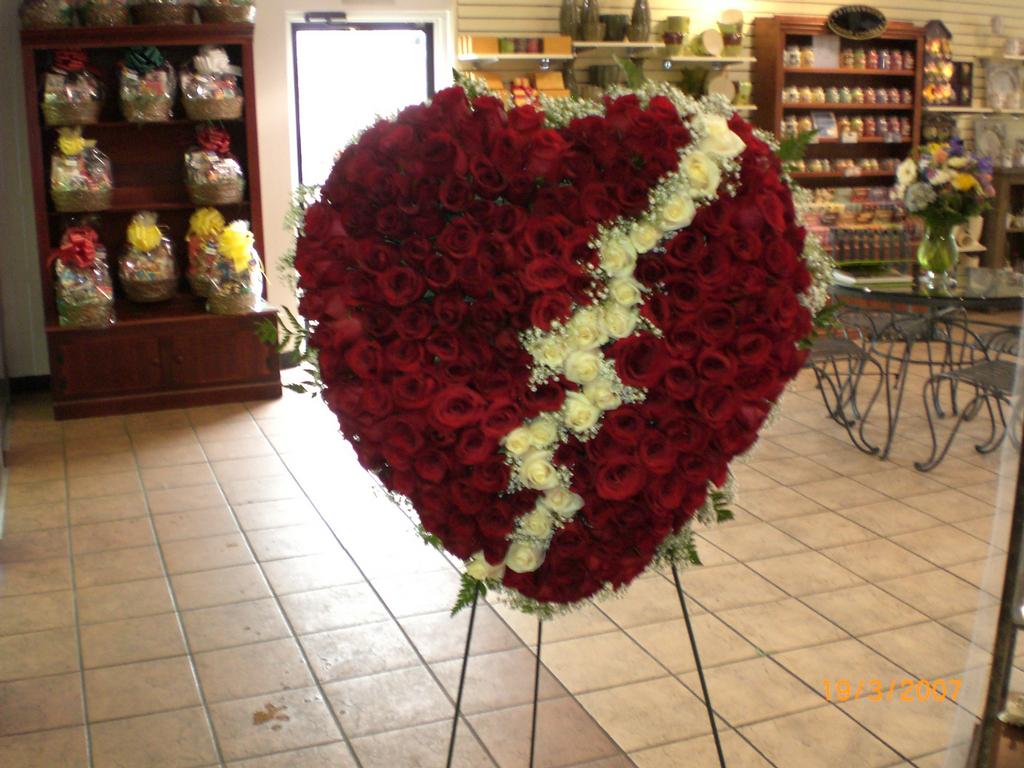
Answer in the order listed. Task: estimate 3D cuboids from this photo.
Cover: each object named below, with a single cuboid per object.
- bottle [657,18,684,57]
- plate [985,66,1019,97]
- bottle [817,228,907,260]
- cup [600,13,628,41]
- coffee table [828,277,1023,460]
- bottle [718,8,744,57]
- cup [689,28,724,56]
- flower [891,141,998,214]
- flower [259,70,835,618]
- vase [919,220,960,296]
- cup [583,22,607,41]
[{"bbox_3d":[1.498,-3.213,6.763,0.247,0.343,0.182,-3,-4,15],"label":"bottle"},{"bbox_3d":[5.685,-3.527,8.468,0.379,0.364,0.054,1,-1,-4],"label":"plate"},{"bbox_3d":[2.669,-1.042,5.479,0.529,0.175,0.361,-1,8,-11],"label":"bottle"},{"bbox_3d":[0.931,-3.247,6.618,0.237,0.187,0.252,0,6,0],"label":"cup"},{"bbox_3d":[2.662,-0.083,4.710,0.957,0.658,0.954,-6,17,-19],"label":"coffee table"},{"bbox_3d":[2.146,-3.430,7.057,0.276,0.417,0.220,-1,-4,-6],"label":"bottle"},{"bbox_3d":[1.848,-3.210,6.938,0.198,0.278,0.224,8,-3,27],"label":"cup"},{"bbox_3d":[2.688,-1.228,4.563,0.513,0.511,0.513,9,4,40],"label":"flower"},{"bbox_3d":[0.069,-0.072,1.287,0.926,0.988,0.320,-2,-4,11],"label":"flower"},{"bbox_3d":[2.626,-0.772,4.486,0.197,0.402,0.242,-4,-5,28],"label":"vase"},{"bbox_3d":[0.749,-3.158,6.610,0.176,0.143,0.194,0,6,0],"label":"cup"}]
